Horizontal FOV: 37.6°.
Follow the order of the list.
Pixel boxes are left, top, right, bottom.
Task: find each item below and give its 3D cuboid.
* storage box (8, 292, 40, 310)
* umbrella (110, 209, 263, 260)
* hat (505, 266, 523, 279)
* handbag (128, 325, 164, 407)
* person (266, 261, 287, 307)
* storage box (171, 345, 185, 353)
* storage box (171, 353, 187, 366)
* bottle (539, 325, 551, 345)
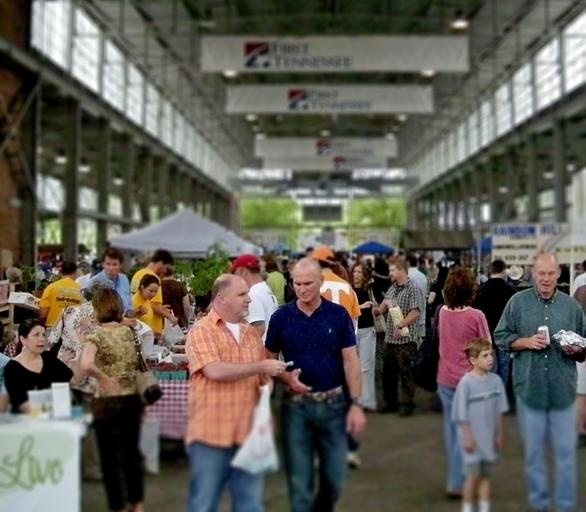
[{"bbox_3d":[-2.932,0.490,9.430,0.322,0.191,0.385,0,-4,-19],"label":"storage box"},{"bbox_3d":[-1.876,-0.397,14.695,2.452,0.853,0.912,-3,-4,27],"label":"umbrella"},{"bbox_3d":[2.732,0.192,10.544,0.207,0.225,0.059,2,18,-3],"label":"hat"},{"bbox_3d":[-1.168,0.909,6.843,0.129,0.208,0.744,0,27,-19],"label":"handbag"},{"bbox_3d":[-0.209,0.328,10.826,0.261,0.728,0.244,-5,-43,-9],"label":"person"},{"bbox_3d":[-1.235,1.002,9.371,0.088,0.062,0.094,-1,-1,15],"label":"storage box"},{"bbox_3d":[-1.115,1.016,8.502,0.127,0.101,0.122,-2,-3,17],"label":"storage box"},{"bbox_3d":[1.976,0.618,6.781,0.084,0.153,0.091,-1,-3,0],"label":"bottle"}]
